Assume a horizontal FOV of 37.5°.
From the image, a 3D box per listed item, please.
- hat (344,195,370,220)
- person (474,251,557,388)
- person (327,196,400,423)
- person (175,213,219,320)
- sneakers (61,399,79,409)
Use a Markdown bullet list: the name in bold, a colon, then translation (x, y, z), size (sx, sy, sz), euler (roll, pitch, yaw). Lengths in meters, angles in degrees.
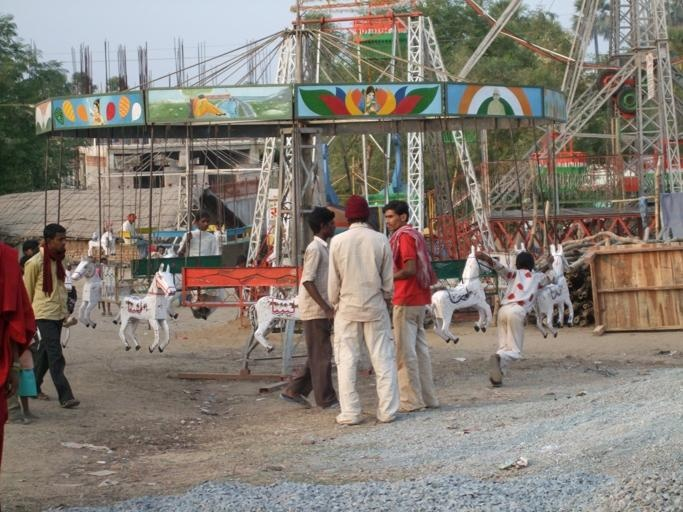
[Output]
- **hat**: translation (0.232, -0.685, 13.988), size (0.321, 0.296, 0.309), euler (-3, 1, 31)
- **person**: translation (2.690, 0.911, 15.801), size (0.776, 2.203, 1.525), euler (0, 8, 18)
- **person**: translation (0.276, 0.739, 13.801), size (0.918, 3.087, 0.629), euler (-3, 8, 2)
- **person**: translation (-3.330, 0.194, 23.194), size (0.894, 2.369, 0.672), euler (1, -7, 1)
- **sneakers**: translation (-3.970, 2.152, 14.677), size (0.270, 0.118, 0.117), euler (-5, -4, 42)
